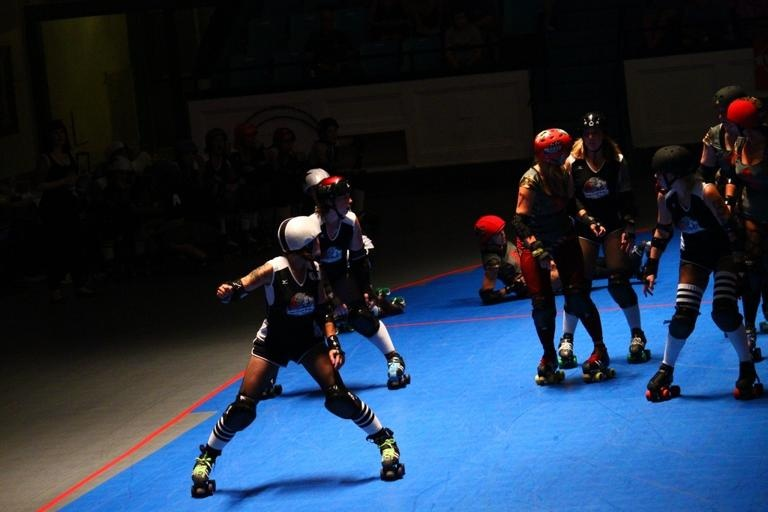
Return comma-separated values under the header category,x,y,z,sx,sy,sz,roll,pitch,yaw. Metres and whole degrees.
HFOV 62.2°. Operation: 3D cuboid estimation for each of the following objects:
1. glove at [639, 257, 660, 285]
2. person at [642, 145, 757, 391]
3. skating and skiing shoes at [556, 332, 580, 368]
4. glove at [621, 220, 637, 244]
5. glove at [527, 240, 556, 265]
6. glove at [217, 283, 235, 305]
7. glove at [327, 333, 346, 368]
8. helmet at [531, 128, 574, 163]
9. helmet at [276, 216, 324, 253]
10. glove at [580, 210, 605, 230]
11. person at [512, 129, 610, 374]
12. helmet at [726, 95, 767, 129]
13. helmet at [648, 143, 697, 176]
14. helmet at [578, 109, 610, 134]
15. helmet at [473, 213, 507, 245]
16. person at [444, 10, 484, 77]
category,x,y,z,sx,sy,sz,roll,pitch,yaw
glove,3.033,0.190,7.254,0.247,0.358,0.135,9,-7,-2
person,2.959,0.139,5.916,0.990,2.305,0.809,-2,13,23
skating and skiing shoes,1.969,1.046,6.817,0.169,0.265,0.414,-1,3,6
glove,2.588,-0.252,6.715,0.108,0.205,0.162,-3,13,18
glove,1.610,-0.032,6.411,0.103,0.197,0.257,-44,-6,0
glove,-1.284,0.261,5.188,0.080,0.154,0.197,-3,35,-34
glove,-0.444,0.847,5.535,0.184,0.089,0.270,26,24,-39
helmet,1.703,-1.095,6.483,0.436,0.405,0.347,-3,20,-14
helmet,-0.697,-0.175,5.376,0.399,0.321,0.321,-6,-3,-31
glove,2.130,-0.384,6.506,0.214,0.061,0.159,31,7,17
person,1.780,0.030,6.463,0.821,2.525,0.477,-4,12,10
helmet,3.442,-1.352,6.045,0.486,0.263,0.301,-17,16,-41
helmet,2.668,-0.860,5.866,0.357,0.301,0.289,12,11,28
helmet,2.251,-1.417,6.758,0.210,0.246,0.295,4,16,12
helmet,1.527,-0.345,9.056,0.416,0.354,0.317,-10,29,18
person,1.875,-4.981,14.848,0.936,1.376,0.831,-7,15,-1
